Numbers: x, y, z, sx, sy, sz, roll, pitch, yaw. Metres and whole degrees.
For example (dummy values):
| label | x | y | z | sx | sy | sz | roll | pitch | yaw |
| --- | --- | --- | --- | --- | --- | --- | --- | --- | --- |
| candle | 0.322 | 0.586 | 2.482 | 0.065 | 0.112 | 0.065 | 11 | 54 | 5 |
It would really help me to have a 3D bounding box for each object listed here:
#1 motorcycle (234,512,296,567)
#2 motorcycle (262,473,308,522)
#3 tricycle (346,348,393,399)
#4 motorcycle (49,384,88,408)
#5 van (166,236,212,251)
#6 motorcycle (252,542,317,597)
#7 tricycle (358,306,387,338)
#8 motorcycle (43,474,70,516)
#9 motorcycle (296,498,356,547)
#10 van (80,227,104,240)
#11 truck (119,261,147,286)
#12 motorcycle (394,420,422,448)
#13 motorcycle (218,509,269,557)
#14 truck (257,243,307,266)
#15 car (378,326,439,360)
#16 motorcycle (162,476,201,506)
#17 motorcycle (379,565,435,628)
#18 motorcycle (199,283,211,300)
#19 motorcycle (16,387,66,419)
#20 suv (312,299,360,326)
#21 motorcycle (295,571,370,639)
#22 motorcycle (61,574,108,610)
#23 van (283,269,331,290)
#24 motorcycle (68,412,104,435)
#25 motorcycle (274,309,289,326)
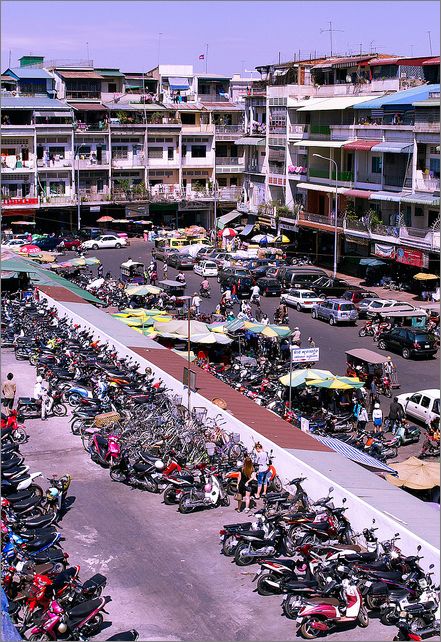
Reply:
| label | x | y | z | sx | sy | sz | roll | pitch | yaw |
| --- | --- | --- | --- | --- | --- | --- | --- | --- | --- |
| motorcycle | 0.876 | 4.230 | 16.263 | 1.066 | 0.911 | 1.104 | -5 | 6 | -20 |
| motorcycle | 1.336 | 3.575 | 17.754 | 1.000 | 0.656 | 0.492 | -4 | 1 | -29 |
| tricycle | 5.320 | 1.656 | 30.426 | 1.072 | 1.300 | 2.083 | -9 | 18 | -32 |
| motorcycle | -4.427 | 2.215 | 26.095 | 1.175 | 0.769 | 0.642 | 2 | 23 | -1 |
| van | -2.570 | -5.834 | 65.198 | 2.378 | 1.244 | 1.493 | -6 | 17 | -18 |
| motorcycle | 1.078 | 4.377 | 15.119 | 1.310 | 0.822 | 0.561 | -4 | 3 | -21 |
| tricycle | 6.874 | 0.278 | 39.097 | 1.185 | 0.783 | 0.702 | 11 | 0 | 40 |
| motorcycle | -3.314 | 3.520 | 17.882 | 0.464 | 0.630 | 0.985 | 25 | -5 | 1 |
| motorcycle | 2.133 | 3.892 | 16.789 | 1.168 | 0.847 | 0.582 | -7 | -11 | -23 |
| van | -10.533 | -7.070 | 70.517 | 1.200 | 1.037 | 1.902 | -7 | 24 | -25 |
| truck | -4.963 | -2.346 | 50.894 | 1.438 | 1.581 | 2.525 | -3 | 18 | -19 |
| motorcycle | 5.297 | 3.285 | 25.491 | 1.001 | 0.713 | 0.479 | -1 | 0 | -40 |
| motorcycle | 0.516 | 4.057 | 16.607 | 1.097 | 0.761 | 0.542 | -5 | 7 | -24 |
| truck | 4.311 | -4.735 | 60.955 | 3.382 | 1.123 | 4.122 | 0 | 12 | 2 |
| car | 7.672 | 0.873 | 35.879 | 1.007 | 0.837 | 2.087 | -3 | 14 | -22 |
| motorcycle | -0.790 | 3.648 | 19.023 | 0.846 | 0.561 | 0.452 | -6 | 18 | -20 |
| motorcycle | 3.229 | 4.595 | 14.553 | 0.987 | 0.718 | 0.601 | -6 | 8 | -30 |
| motorcycle | -0.829 | -1.718 | 47.782 | 0.429 | 0.558 | 0.869 | 1 | 19 | -7 |
| motorcycle | -5.230 | 2.436 | 25.518 | 1.284 | 0.849 | 0.705 | -2 | 25 | -11 |
| suv | 5.557 | -0.469 | 42.214 | 0.980 | 0.892 | 2.037 | -3 | 16 | -26 |
| motorcycle | 1.759 | 4.719 | 14.163 | 1.181 | 0.740 | 0.459 | -7 | 14 | -30 |
| motorcycle | -2.190 | 4.389 | 14.004 | 0.594 | 0.398 | 0.322 | -17 | 29 | -39 |
| van | 4.708 | -2.398 | 49.147 | 1.920 | 1.027 | 1.213 | -2 | 12 | -8 |
| motorcycle | -3.699 | 2.774 | 23.943 | 0.820 | 0.548 | 0.443 | 3 | 16 | 0 |
| motorcycle | 2.848 | -0.147 | 40.402 | 0.704 | 0.748 | 0.550 | -1 | 14 | -4 |
